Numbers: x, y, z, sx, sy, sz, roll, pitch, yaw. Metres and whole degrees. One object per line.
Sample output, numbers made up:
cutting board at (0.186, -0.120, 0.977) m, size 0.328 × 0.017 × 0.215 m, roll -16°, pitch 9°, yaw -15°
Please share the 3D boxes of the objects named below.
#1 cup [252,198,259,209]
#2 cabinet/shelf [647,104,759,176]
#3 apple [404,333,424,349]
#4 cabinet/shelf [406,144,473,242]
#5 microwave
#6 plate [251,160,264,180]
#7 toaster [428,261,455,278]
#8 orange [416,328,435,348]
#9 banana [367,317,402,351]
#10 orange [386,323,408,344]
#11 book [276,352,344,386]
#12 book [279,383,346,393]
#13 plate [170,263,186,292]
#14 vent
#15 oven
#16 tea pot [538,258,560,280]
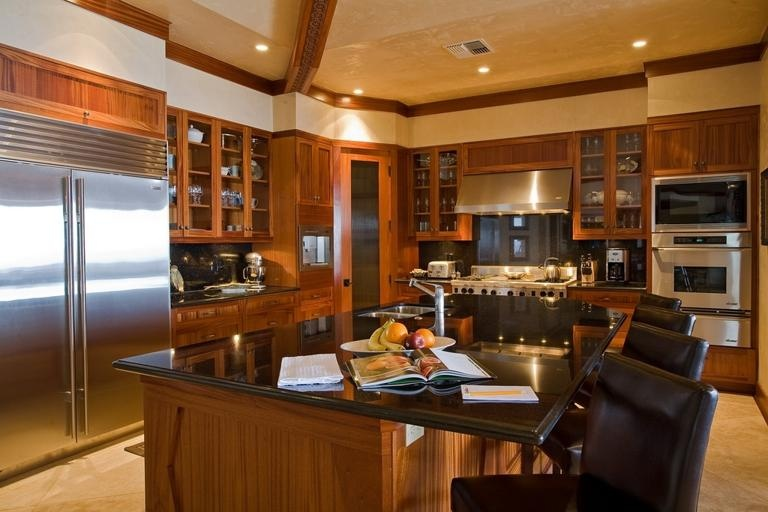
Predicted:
cup at (-1.462, -0.602, 5.953) m, size 0.070 × 0.088 × 0.103 m, roll -5°, pitch -7°, yaw 27°
cabinet/shelf at (3.441, -1.013, 5.644) m, size 1.089 × 0.673 × 0.623 m, roll 1°, pitch 1°, yaw 30°
apple at (0.176, 0.452, 2.910) m, size 0.089 × 0.083 × 0.087 m, roll -22°, pitch 19°, yaw -40°
cabinet/shelf at (0.720, -0.842, 7.000) m, size 0.828 × 1.223 × 0.255 m, roll 2°, pitch 6°, yaw 28°
microwave at (3.377, -0.452, 5.619) m, size 1.015 × 0.592 × 0.541 m, roll 1°, pitch 1°, yaw 31°
plate at (-1.455, -0.983, 6.008) m, size 0.193 × 0.181 × 0.053 m, roll -4°, pitch 4°, yaw 27°
toaster at (0.822, 0.165, 6.934) m, size 0.419 × 0.207 × 0.280 m, roll -4°, pitch 6°, yaw -34°
orange at (0.244, 0.453, 2.951) m, size 0.109 × 0.094 × 0.103 m, roll -11°, pitch -23°, yaw 5°
banana at (-0.018, 0.440, 3.041) m, size 0.118 × 0.083 × 0.287 m, roll -14°, pitch 15°, yaw 3°
orange at (0.071, 0.429, 2.969) m, size 0.114 × 0.106 × 0.111 m, roll -24°, pitch -17°, yaw 39°
book at (-0.380, 0.575, 2.691) m, size 0.315 × 0.050 × 0.389 m, roll -1°, pitch 5°, yaw -10°
book at (-0.346, 0.618, 2.486) m, size 0.308 × 0.018 × 0.082 m, roll 0°, pitch 5°, yaw 0°
plate at (-2.050, 0.211, 5.228) m, size 0.173 × 0.277 × 0.087 m, roll -10°, pitch 2°, yaw -26°
vent at (1.599, -0.822, 6.508) m, size 1.403 × 0.462 × 0.434 m, roll 1°, pitch 12°, yaw 30°
oven at (3.508, 0.312, 5.739) m, size 1.075 × 1.218 × 1.086 m, roll -13°, pitch 10°, yaw -39°
tea pot at (2.088, 0.157, 6.559) m, size 0.228 × 0.280 × 0.293 m, roll 0°, pitch -1°, yaw -42°
